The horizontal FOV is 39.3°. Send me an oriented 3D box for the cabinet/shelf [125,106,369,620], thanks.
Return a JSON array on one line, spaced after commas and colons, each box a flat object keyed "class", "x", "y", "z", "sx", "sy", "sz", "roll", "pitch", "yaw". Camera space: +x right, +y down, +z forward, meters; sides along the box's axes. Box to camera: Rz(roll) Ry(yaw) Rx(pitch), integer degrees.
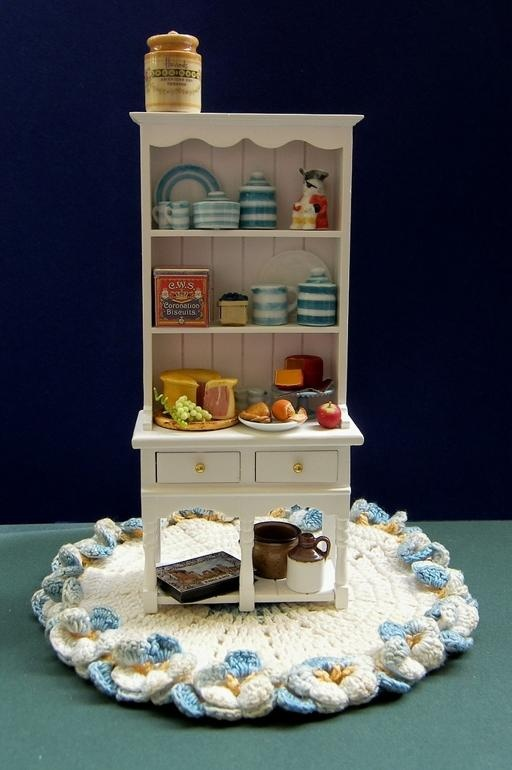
[{"class": "cabinet/shelf", "x": -0.035, "y": -0.079, "z": 2.331, "sx": 0.689, "sy": 1.472, "sz": 0.677, "roll": -2, "pitch": 13, "yaw": -2}]
